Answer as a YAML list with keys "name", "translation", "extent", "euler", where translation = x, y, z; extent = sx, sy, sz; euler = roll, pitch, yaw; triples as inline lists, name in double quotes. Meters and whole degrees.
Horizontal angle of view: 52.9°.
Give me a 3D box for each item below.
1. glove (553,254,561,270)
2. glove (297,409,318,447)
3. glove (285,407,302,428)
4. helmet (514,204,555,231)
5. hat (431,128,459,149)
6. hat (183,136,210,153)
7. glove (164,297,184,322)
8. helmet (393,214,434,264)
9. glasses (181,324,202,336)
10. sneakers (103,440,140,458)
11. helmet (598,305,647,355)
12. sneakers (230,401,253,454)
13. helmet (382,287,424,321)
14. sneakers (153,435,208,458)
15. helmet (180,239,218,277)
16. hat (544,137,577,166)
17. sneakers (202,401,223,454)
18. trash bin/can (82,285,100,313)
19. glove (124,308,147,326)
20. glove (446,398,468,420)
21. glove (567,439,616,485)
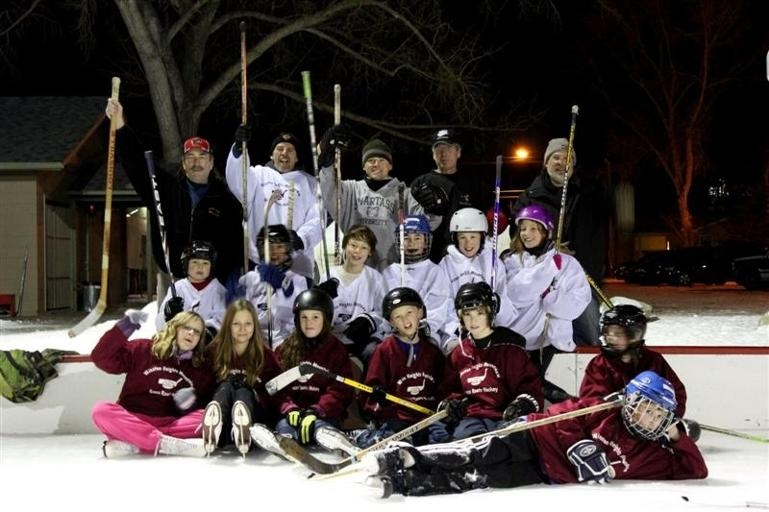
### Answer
- name: "glove"
  translation: [1.980, 0.062, 8.949]
  extent: [0.141, 0.137, 0.041]
  euler: [-10, 7, 0]
- name: "glove"
  translation: [-0.842, 1.815, 8.241]
  extent: [0.297, 0.308, 0.133]
  euler: [-17, -30, 39]
- name: "glove"
  translation: [-0.988, 1.739, 8.301]
  extent: [0.133, 0.188, 0.072]
  euler: [-3, -8, 16]
- name: "helmet"
  translation: [1.732, -0.457, 8.977]
  extent: [0.279, 0.293, 0.366]
  euler: [25, 39, 31]
- name: "hat"
  translation: [0.805, -1.577, 10.377]
  extent: [0.335, 0.241, 0.468]
  euler: [-5, -18, 12]
- name: "hat"
  translation: [-2.363, -1.407, 9.798]
  extent: [0.298, 0.266, 0.445]
  euler: [0, -3, -3]
- name: "glove"
  translation: [-2.415, 0.584, 8.887]
  extent: [0.223, 0.306, 0.266]
  euler: [8, 16, -14]
- name: "helmet"
  translation: [0.309, -0.202, 9.242]
  extent: [0.532, 0.581, 0.255]
  euler: [2, -3, -41]
- name: "glasses"
  translation: [-2.100, 0.811, 8.443]
  extent: [0.180, 0.100, 0.045]
  euler: [2, -3, -36]
- name: "sneakers"
  translation: [-2.810, 2.054, 8.304]
  extent: [0.373, 0.164, 0.157]
  euler: [2, 5, -40]
- name: "helmet"
  translation: [2.408, 0.771, 8.165]
  extent: [0.518, 0.520, 0.418]
  euler: [6, -5, -9]
- name: "sneakers"
  translation: [-1.517, 1.785, 8.229]
  extent: [0.191, 0.586, 0.230]
  euler: [-2, -5, -1]
- name: "helmet"
  translation: [0.179, 0.575, 8.467]
  extent: [0.300, 0.427, 0.335]
  euler: [-2, -7, 1]
- name: "sneakers"
  translation: [-2.125, 2.026, 8.345]
  extent: [0.657, 0.222, 0.266]
  euler: [1, -41, -5]
- name: "helmet"
  translation: [-2.204, -0.038, 9.242]
  extent: [0.357, 0.409, 0.430]
  euler: [7, -43, -14]
- name: "hat"
  translation: [2.202, -1.368, 9.863]
  extent: [0.299, 0.321, 0.346]
  euler: [5, -15, 5]
- name: "sneakers"
  translation: [-1.807, 1.781, 8.217]
  extent: [0.185, 0.574, 0.224]
  euler: [3, -4, -6]
- name: "trash bin/can"
  translation: [-6.187, 0.902, 16.225]
  extent: [0.367, 0.587, 0.470]
  euler: [15, -16, -38]
- name: "glove"
  translation: [-2.759, 0.679, 8.603]
  extent: [0.234, 0.176, 0.533]
  euler: [1, -3, -17]
- name: "glove"
  translation: [0.734, 1.566, 8.017]
  extent: [0.160, 0.227, 0.199]
  euler: [4, -2, -15]
- name: "glove"
  translation: [2.019, 2.026, 7.631]
  extent: [0.334, 0.491, 0.204]
  euler: [-11, -1, -3]
